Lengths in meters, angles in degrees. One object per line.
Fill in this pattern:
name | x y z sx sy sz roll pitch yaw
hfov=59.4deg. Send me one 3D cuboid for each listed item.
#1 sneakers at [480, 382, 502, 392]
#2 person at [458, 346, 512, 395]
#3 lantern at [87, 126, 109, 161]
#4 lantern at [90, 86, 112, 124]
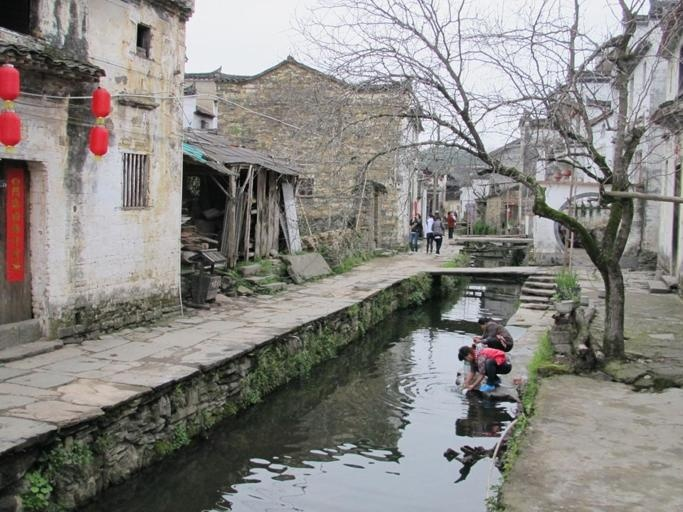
sneakers | 2.452 2.181 9.943 0.345 0.150 0.132 -6 2 27
person | 2.392 1.908 10.225 0.970 0.734 0.683 -10 -7 13
lantern | -3.808 -1.819 9.445 0.324 0.520 0.328 3 0 7
lantern | -3.788 -2.396 9.450 0.276 0.583 0.574 -4 12 -22
